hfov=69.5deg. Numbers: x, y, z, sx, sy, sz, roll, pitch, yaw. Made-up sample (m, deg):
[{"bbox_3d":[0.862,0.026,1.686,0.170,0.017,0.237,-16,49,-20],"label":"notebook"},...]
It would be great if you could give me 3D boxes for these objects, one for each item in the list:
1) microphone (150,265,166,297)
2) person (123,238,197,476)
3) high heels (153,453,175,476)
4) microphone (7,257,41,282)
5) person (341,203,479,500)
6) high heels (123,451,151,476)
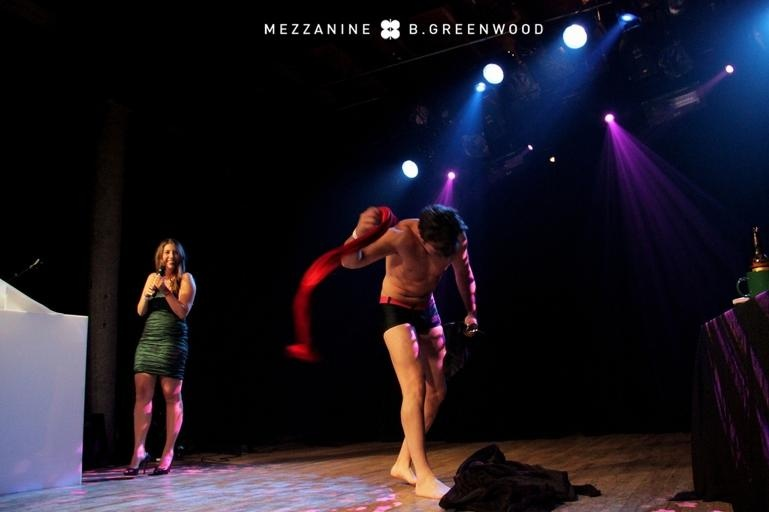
[{"bbox_3d":[-2.177,0.231,5.347,0.153,0.317,0.254,5,-17,-23],"label":"microphone"},{"bbox_3d":[-2.138,0.899,5.348,0.499,2.240,0.567,5,-17,-24],"label":"person"},{"bbox_3d":[-2.099,1.946,5.237,0.171,0.179,0.294,5,-18,-23],"label":"high heels"},{"bbox_3d":[-3.700,0.126,5.662,0.401,0.134,0.047,-29,-9,2],"label":"microphone"},{"bbox_3d":[0.260,0.736,4.488,0.947,2.241,1.262,-5,-16,12],"label":"person"},{"bbox_3d":[-2.325,1.953,5.269,0.172,0.186,0.330,-6,-17,12],"label":"high heels"}]
